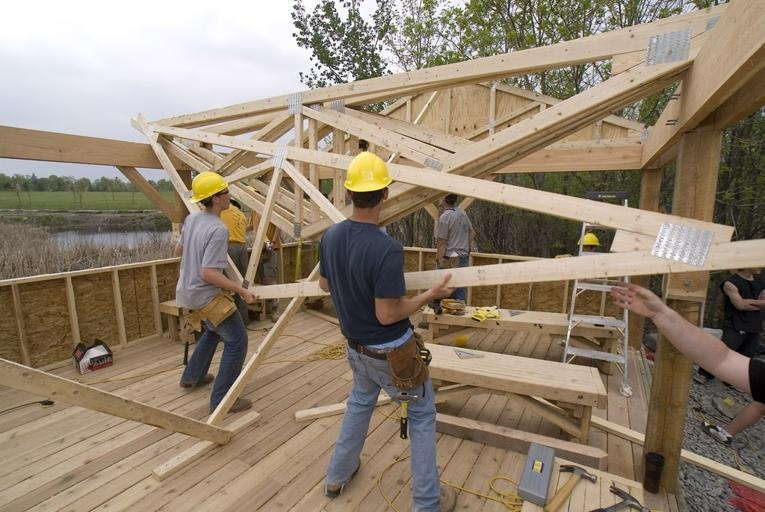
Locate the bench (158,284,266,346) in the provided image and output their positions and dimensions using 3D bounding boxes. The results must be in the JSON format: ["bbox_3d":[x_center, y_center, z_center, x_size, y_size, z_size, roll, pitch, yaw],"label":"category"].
[{"bbox_3d":[-2.287,0.776,6.192,0.502,0.610,0.900,5,8,23],"label":"bench"}]

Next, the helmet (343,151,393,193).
[{"bbox_3d":[-0.143,-0.763,4.374,0.403,0.364,0.258,-4,12,-1],"label":"helmet"}]

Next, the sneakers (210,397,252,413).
[{"bbox_3d":[-1.785,1.793,5.720,0.492,0.202,0.184,-2,8,-16],"label":"sneakers"}]

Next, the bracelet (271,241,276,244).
[{"bbox_3d":[-1.922,-0.240,8.457,0.060,0.054,0.060,-5,-10,27],"label":"bracelet"}]

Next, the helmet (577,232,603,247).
[{"bbox_3d":[2.969,-0.241,6.905,0.304,0.184,0.369,3,11,28],"label":"helmet"}]

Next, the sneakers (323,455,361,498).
[{"bbox_3d":[-0.391,2.228,4.855,0.184,0.524,0.212,22,-2,-2],"label":"sneakers"}]

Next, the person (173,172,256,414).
[{"bbox_3d":[-2.004,0.462,5.589,0.664,2.820,0.992,-14,16,-37],"label":"person"}]

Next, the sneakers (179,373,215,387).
[{"bbox_3d":[-2.388,1.624,6.218,0.145,0.170,0.410,18,19,41],"label":"sneakers"}]

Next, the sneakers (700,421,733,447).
[{"bbox_3d":[4.204,2.243,6.110,0.149,0.169,0.399,36,-3,-14],"label":"sneakers"}]

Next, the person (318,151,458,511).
[{"bbox_3d":[-0.040,1.033,4.481,1.156,2.740,0.569,1,13,19],"label":"person"}]

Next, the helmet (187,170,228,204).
[{"bbox_3d":[-1.943,-0.783,5.442,0.311,0.204,0.384,18,39,28],"label":"helmet"}]
